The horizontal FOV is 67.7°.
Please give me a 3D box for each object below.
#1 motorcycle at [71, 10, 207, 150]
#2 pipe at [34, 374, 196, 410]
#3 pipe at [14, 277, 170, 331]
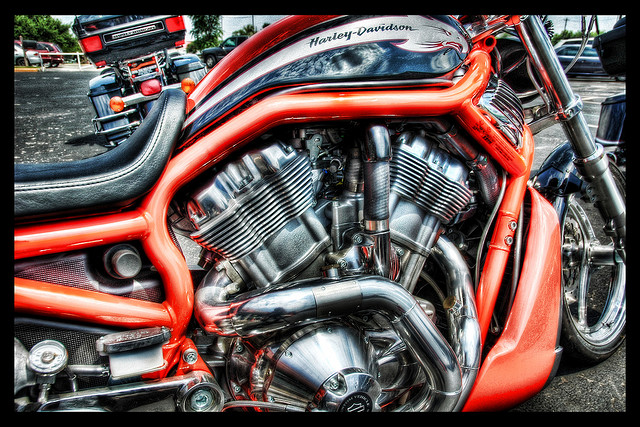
[{"bbox_3d":[-1.966,-1.545,5.471,1.312,1.306,2.189,-21,27,-16],"label":"motorcycle"},{"bbox_3d":[-0.740,0.657,1.758,0.547,0.073,0.050,-8,32,-13],"label":"pipe"},{"bbox_3d":[-0.850,0.378,1.816,0.105,0.144,0.607,-12,-25,39],"label":"pipe"}]
